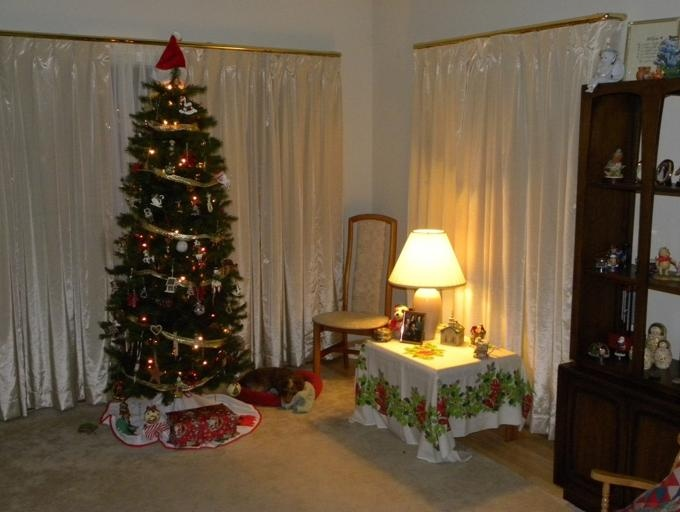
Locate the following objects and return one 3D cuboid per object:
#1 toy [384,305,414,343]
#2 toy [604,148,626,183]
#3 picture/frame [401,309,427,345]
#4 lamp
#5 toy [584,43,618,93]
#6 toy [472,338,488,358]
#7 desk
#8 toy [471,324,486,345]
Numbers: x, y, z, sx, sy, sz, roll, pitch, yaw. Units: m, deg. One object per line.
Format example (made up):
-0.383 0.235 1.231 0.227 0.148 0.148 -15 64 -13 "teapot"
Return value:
0.476 0.530 4.806 0.157 0.235 0.227 11 20 28 "toy"
1.685 -0.546 3.702 0.141 0.198 0.134 -14 22 -32 "toy"
0.556 0.551 4.588 0.183 0.245 0.020 6 -11 22 "picture/frame"
0.657 0.237 4.550 0.482 0.815 0.368 -2 6 -26 "lamp"
1.602 -1.113 3.660 0.196 0.252 0.157 -16 29 -8 "toy"
0.995 0.673 4.307 0.087 0.107 0.111 -2 4 -10 "toy"
0.811 0.845 4.394 0.842 0.492 0.951 -3 7 -33 "desk"
1.013 0.578 4.423 0.117 0.129 0.121 1 5 24 "toy"
